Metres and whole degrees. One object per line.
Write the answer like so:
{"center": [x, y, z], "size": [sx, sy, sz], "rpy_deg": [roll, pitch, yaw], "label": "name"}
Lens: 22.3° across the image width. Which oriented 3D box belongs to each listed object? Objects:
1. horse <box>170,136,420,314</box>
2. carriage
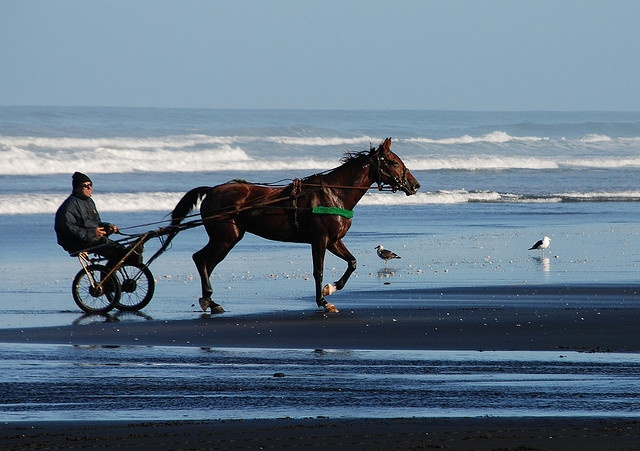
{"center": [-0.676, -0.006, 43.211], "size": [7.323, 4.222, 1.770], "rpy_deg": [-2, -6, 27], "label": "horse"}
{"center": [-2.552, 0.062, 50.879], "size": [14.124, 5.781, 3.608], "rpy_deg": [0, 4, -3], "label": "carriage"}
